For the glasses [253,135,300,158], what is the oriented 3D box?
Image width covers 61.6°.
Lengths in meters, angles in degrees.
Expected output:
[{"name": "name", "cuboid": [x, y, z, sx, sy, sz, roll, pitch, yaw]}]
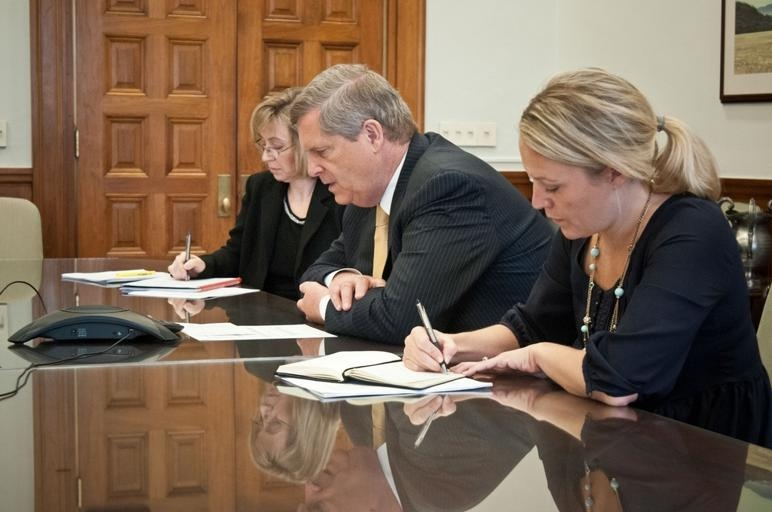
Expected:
[{"name": "glasses", "cuboid": [-0.508, -0.504, 2.971, 0.150, 0.044, 0.141, -3, 7, -35]}]

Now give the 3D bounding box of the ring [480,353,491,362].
[{"name": "ring", "cuboid": [0.235, 0.236, 1.526, 0.018, 0.009, 0.024, -3, 8, -10]}]
